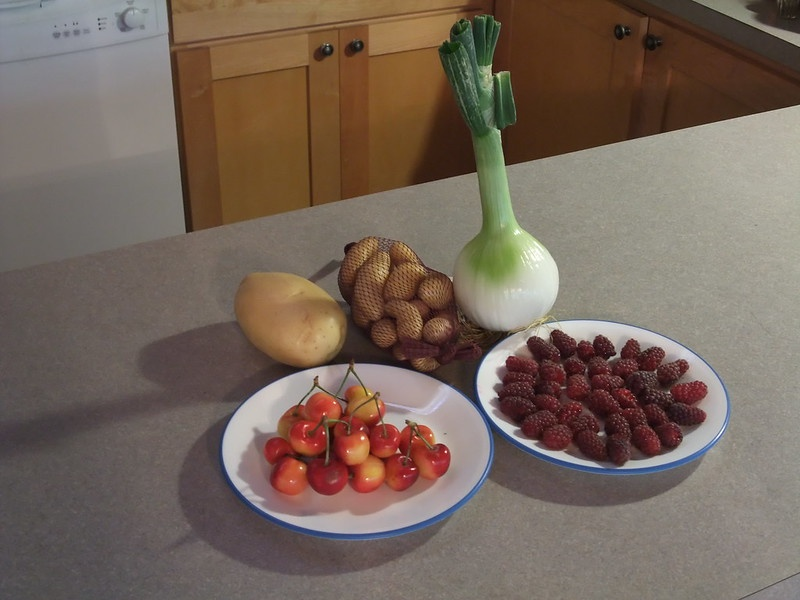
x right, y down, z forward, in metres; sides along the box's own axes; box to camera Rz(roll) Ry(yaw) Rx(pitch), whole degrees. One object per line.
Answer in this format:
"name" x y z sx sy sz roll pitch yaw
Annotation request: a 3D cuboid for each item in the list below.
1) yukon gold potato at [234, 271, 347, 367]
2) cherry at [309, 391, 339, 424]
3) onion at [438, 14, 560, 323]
"yukon gold potato" -0.141 0.024 0.926 0.135 0.104 0.084 19 51 18
"cherry" -0.084 0.121 0.772 0.028 0.028 0.030 0 40 7
"onion" 0.113 -0.146 0.840 0.128 0.348 0.180 -18 42 -16
